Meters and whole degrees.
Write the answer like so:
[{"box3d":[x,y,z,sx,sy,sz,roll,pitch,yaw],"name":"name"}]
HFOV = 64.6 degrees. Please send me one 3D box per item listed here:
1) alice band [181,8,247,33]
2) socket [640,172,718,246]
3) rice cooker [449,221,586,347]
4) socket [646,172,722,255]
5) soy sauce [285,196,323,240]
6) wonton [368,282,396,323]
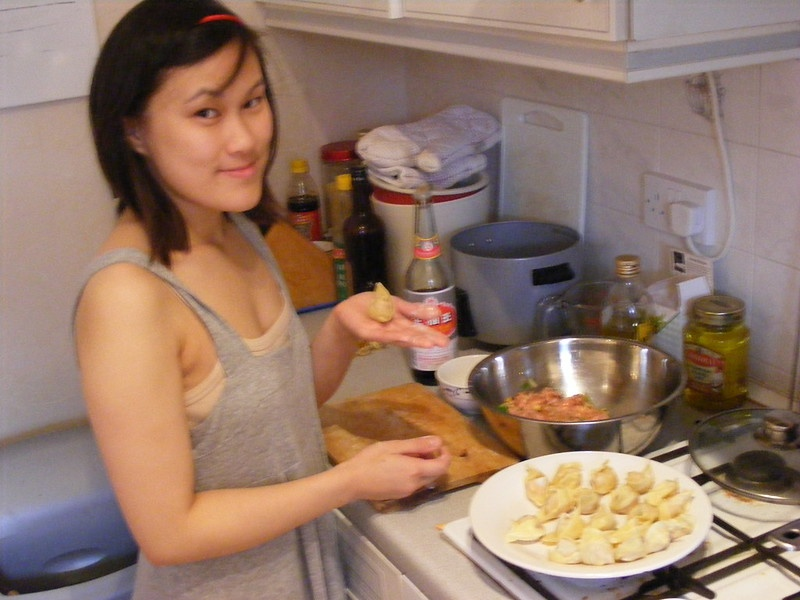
[{"box3d":[-0.226,-0.362,0.820,0.025,0.021,0.094,-1,17,18],"name":"alice band"},{"box3d":[0.553,-0.180,1.243,0.043,0.092,0.139,-16,24,-22],"name":"socket"},{"box3d":[0.245,-0.038,1.516,0.293,0.211,0.305,-30,38,-30],"name":"rice cooker"},{"box3d":[0.552,-0.174,1.253,0.046,0.144,0.159,-12,18,-17],"name":"socket"},{"box3d":[-0.269,-0.222,1.745,0.088,0.135,0.087,18,37,35],"name":"soy sauce"},{"box3d":[-0.034,0.008,1.163,0.056,0.074,0.052,-16,26,-35],"name":"wonton"}]
